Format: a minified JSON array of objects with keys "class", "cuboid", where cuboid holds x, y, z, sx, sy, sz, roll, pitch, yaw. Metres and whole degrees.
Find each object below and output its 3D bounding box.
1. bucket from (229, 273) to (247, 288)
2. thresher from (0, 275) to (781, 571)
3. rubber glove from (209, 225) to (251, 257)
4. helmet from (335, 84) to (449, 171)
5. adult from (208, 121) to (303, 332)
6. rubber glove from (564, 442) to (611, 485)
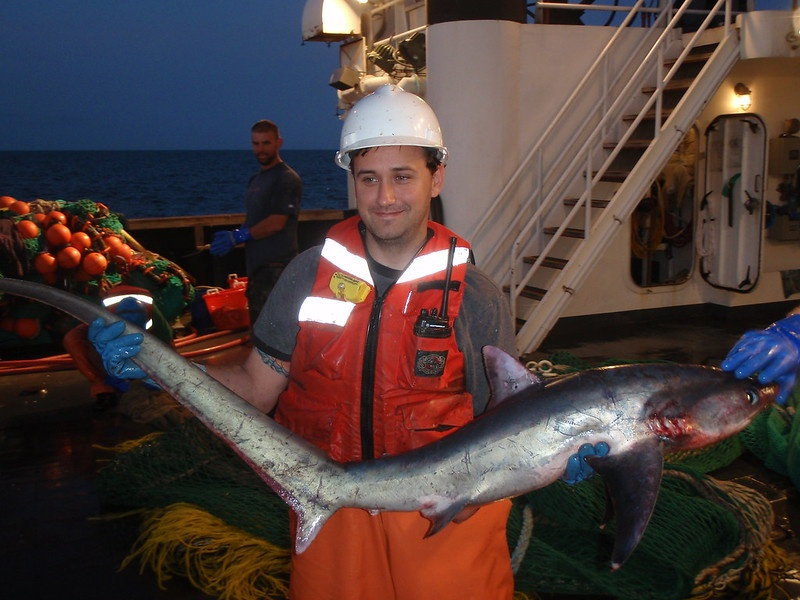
[{"class":"bucket","cuboid":[-2.587,-0.318,10.640,0.320,0.278,0.246,0,13,3]},{"class":"thresher","cuboid":[-0.226,0.515,3.484,3.437,1.440,1.268,-6,-17,-5]},{"class":"rubber glove","cuboid":[-1.971,-0.692,7.962,0.544,0.344,0.124,-11,-31,25]},{"class":"helmet","cuboid":[-0.054,-0.863,3.489,0.568,0.392,0.695,0,-3,2]},{"class":"adult","cuboid":[-1.750,-0.440,8.213,1.037,3.301,1.107,-4,18,-19]},{"class":"rubber glove","cuboid":[0.786,0.671,2.860,0.178,0.070,0.175,-35,-17,13]}]
